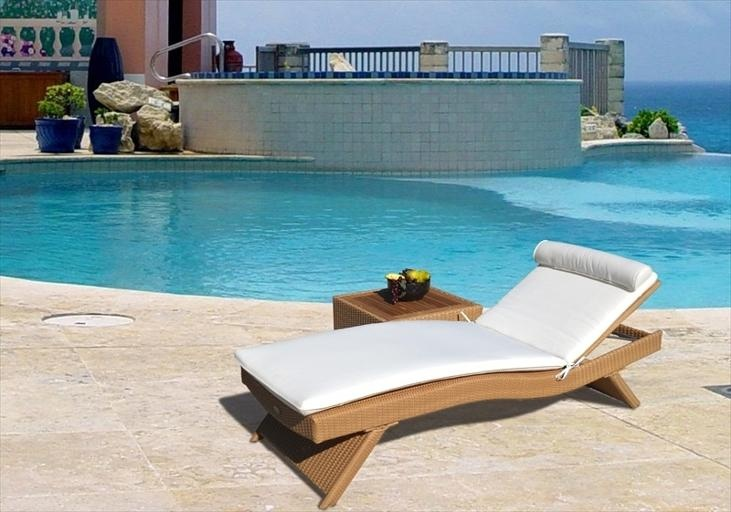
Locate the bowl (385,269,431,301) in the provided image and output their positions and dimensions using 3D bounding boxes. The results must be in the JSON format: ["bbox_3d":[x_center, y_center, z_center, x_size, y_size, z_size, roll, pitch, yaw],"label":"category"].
[{"bbox_3d":[0.256,0.136,4.280,0.300,0.117,0.261,-12,5,-5],"label":"bowl"}]

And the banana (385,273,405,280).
[{"bbox_3d":[0.190,0.119,4.440,0.117,0.021,0.107,6,12,3],"label":"banana"}]

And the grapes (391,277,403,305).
[{"bbox_3d":[0.187,0.188,4.165,0.062,0.137,0.047,10,17,16],"label":"grapes"}]

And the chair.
[{"bbox_3d":[0.350,0.418,3.367,2.324,0.642,0.971,-7,17,-24],"label":"chair"}]

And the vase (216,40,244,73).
[{"bbox_3d":[-3.655,-5.582,20.478,0.477,0.829,0.954,-1,12,-9],"label":"vase"}]
